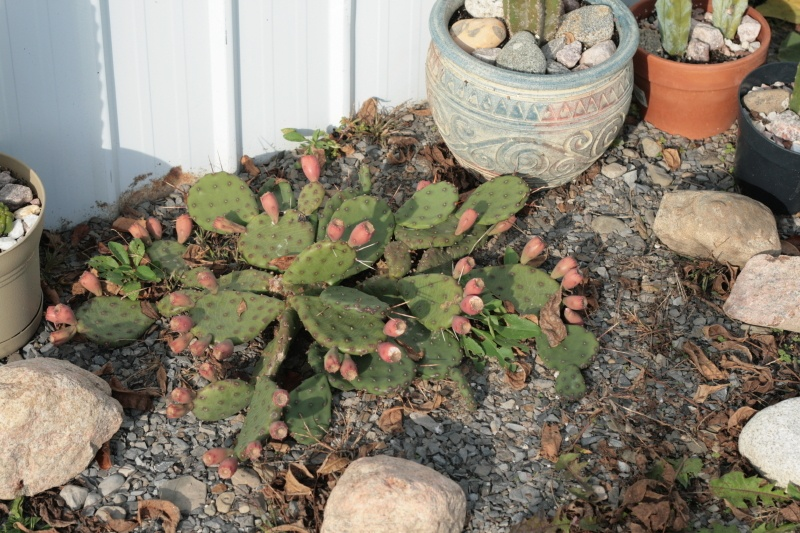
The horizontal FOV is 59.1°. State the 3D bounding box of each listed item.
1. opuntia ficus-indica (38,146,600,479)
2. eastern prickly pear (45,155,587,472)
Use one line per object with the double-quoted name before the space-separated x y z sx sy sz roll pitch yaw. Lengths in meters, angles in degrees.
"opuntia ficus-indica" -0.296 0.059 3.984 2.263 1.472 1.510 -15 60 -4
"eastern prickly pear" -0.272 0.127 3.592 2.306 0.575 1.523 -8 71 -1
